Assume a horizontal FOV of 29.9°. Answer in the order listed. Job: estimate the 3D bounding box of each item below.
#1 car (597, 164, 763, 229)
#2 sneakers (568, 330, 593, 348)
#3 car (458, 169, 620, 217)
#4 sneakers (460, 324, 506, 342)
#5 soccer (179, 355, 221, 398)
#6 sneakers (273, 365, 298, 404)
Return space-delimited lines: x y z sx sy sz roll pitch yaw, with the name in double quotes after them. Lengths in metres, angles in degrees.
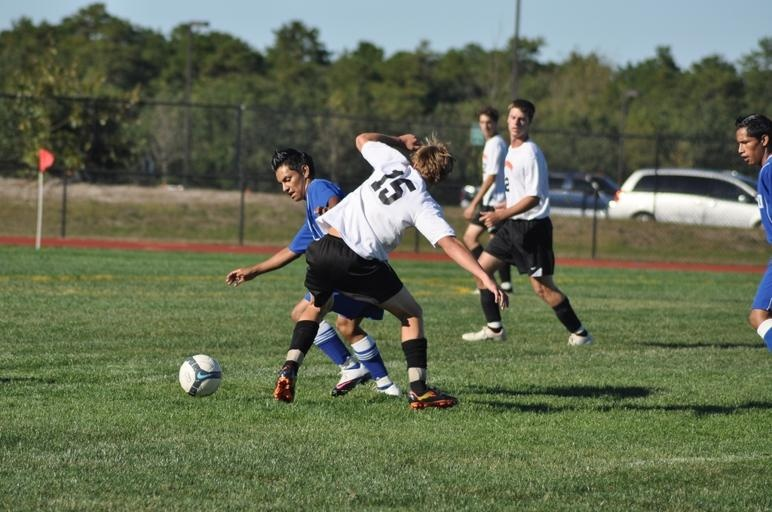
6.316 -1.197 31.530 3.817 1.313 1.765 -3 10 -19 "car"
2.823 1.214 21.141 0.365 0.208 0.176 -2 4 -5 "sneakers"
4.244 -1.382 37.784 3.404 1.180 1.666 2 4 8 "car"
1.461 1.140 21.383 0.578 0.235 0.244 2 -1 4 "sneakers"
-2.447 1.612 19.441 0.540 0.533 0.531 4 18 -34 "soccer"
-1.277 1.684 18.984 0.234 0.564 0.273 8 20 3 "sneakers"
